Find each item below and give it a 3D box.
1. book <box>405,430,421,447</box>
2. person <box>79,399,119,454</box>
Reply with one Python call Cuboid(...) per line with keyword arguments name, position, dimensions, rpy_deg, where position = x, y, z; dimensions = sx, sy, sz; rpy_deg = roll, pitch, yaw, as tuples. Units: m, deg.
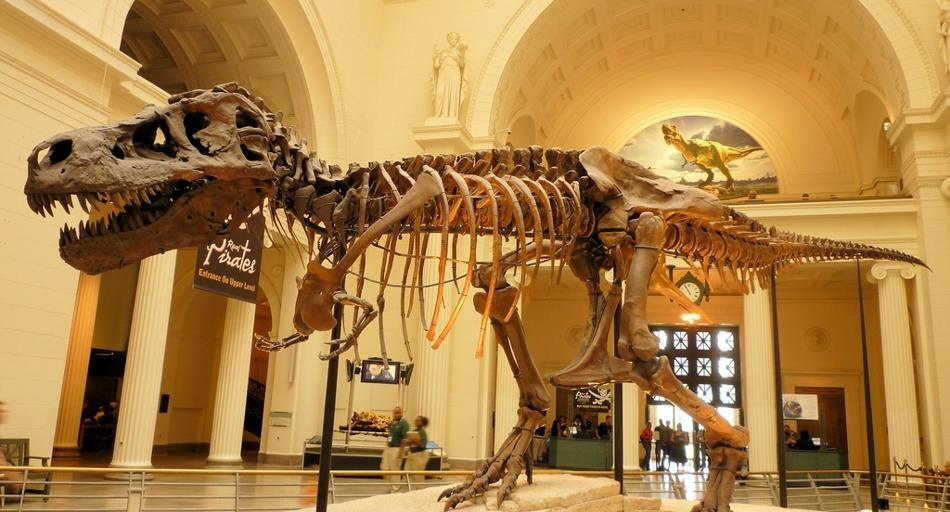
Cuboid(name="book", position=(-1.352, 3.930, 13.782), dimensions=(0.418, 0.333, 0.267), rpy_deg=(-7, -10, 36))
Cuboid(name="person", position=(-11.833, 5.309, 20.153), dimensions=(0.610, 1.632, 1.230), rpy_deg=(-7, -22, 22))
